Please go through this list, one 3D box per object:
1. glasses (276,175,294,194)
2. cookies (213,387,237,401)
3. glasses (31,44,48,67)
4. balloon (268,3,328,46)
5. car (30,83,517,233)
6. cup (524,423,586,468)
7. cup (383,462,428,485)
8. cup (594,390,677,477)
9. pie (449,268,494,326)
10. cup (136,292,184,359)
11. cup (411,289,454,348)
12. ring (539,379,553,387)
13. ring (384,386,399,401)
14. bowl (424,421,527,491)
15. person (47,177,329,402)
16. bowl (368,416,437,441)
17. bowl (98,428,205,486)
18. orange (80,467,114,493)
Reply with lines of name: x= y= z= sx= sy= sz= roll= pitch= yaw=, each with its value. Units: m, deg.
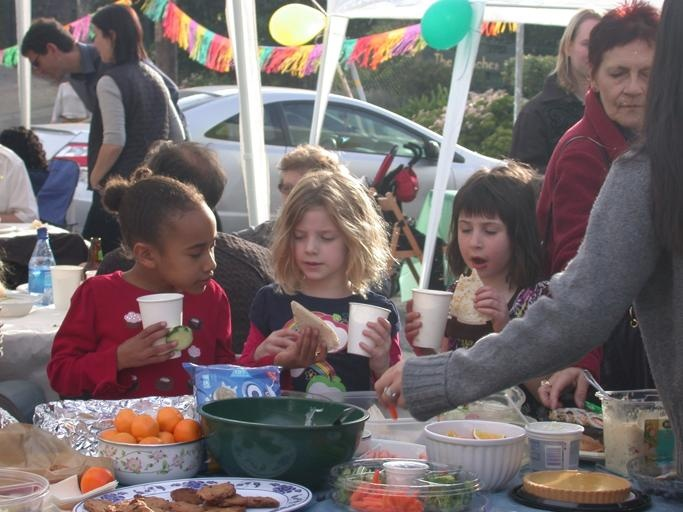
glasses: x=-0.330 y=-0.439 z=4.411 sx=0.097 sy=0.109 sz=0.119 roll=0 pitch=3 yaw=0
cookies: x=-0.374 y=0.434 z=2.322 sx=0.043 sy=0.028 sz=0.050 roll=12 pitch=5 yaw=-11
glasses: x=-2.704 y=-1.772 z=6.483 sx=0.054 sy=0.153 sz=0.156 roll=-5 pitch=0 yaw=-6
balloon: x=-0.484 y=-2.505 z=7.857 sx=0.581 sy=0.434 sz=0.366 roll=1 pitch=-1 yaw=-2
car: x=-0.468 y=-1.398 z=8.685 sx=5.067 sy=1.498 sz=2.186 roll=-6 pitch=11 yaw=-23
cup: x=0.661 y=0.568 z=2.295 sx=0.158 sy=0.107 sz=0.152 roll=-1 pitch=3 yaw=0
cup: x=0.176 y=0.593 z=2.026 sx=0.069 sy=0.064 sz=0.064 roll=1 pitch=-1 yaw=0
cup: x=0.917 y=0.564 z=2.383 sx=0.323 sy=0.286 sz=0.217 roll=8 pitch=-19 yaw=-24
pie: x=0.586 y=0.194 z=3.317 sx=0.183 sy=0.209 sz=0.063 roll=8 pitch=-8 yaw=40
cup: x=-0.626 y=0.242 z=2.628 sx=0.191 sy=0.178 sz=0.175 roll=0 pitch=5 yaw=0
cup: x=0.327 y=0.251 z=2.980 sx=0.236 sy=0.238 sz=0.215 roll=6 pitch=-5 yaw=0
ring: x=0.833 y=0.515 z=2.995 sx=0.041 sy=0.020 sz=0.049 roll=-14 pitch=-6 yaw=10
ring: x=0.151 y=0.419 z=2.251 sx=0.043 sy=0.035 sz=0.039 roll=1 pitch=12 yaw=0
bowl: x=0.404 y=0.580 z=2.210 sx=0.234 sy=0.120 sz=0.224 roll=2 pitch=-2 yaw=0
person: x=-0.758 y=0.116 z=2.923 sx=0.781 sy=0.930 sz=0.618 roll=1 pitch=-1 yaw=-20
bowl: x=0.182 y=0.578 z=2.447 sx=0.147 sy=0.043 sz=0.100 roll=1 pitch=3 yaw=-9
bowl: x=-0.571 y=0.634 z=2.249 sx=0.290 sy=0.105 sz=0.279 roll=-3 pitch=-13 yaw=-1
orange: x=-0.687 y=0.626 z=2.064 sx=0.086 sy=0.065 sz=0.067 roll=-13 pitch=-39 yaw=2
